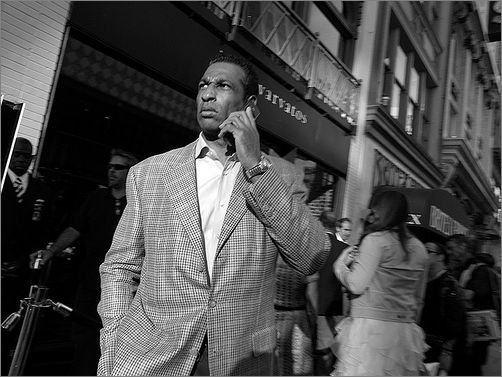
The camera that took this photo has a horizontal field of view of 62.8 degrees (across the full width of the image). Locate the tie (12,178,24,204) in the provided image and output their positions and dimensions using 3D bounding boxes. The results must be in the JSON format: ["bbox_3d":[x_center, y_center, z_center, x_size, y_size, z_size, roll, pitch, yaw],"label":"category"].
[{"bbox_3d":[-2.279,-0.015,4.041,0.039,0.164,0.093,9,17,28],"label":"tie"}]
